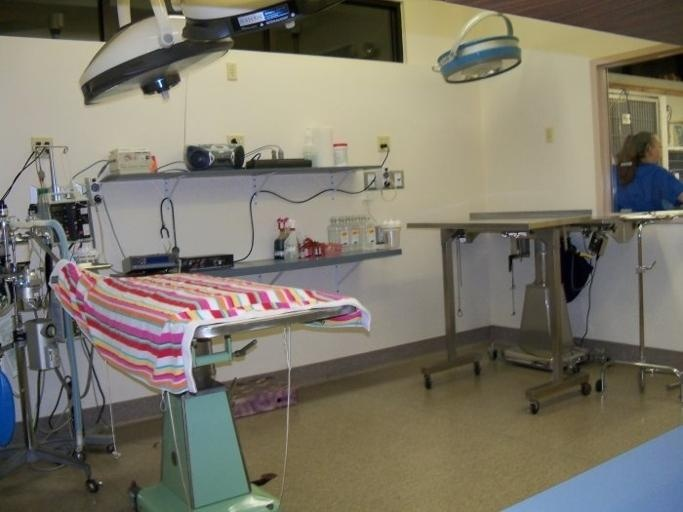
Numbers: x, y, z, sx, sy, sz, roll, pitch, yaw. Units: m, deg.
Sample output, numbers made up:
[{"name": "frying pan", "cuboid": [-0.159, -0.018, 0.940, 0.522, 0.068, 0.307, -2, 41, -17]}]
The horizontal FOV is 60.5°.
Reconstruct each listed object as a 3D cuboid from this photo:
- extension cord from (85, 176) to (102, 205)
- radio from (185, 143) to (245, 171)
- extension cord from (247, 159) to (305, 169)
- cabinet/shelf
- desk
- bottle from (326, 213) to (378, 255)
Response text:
[{"name": "extension cord", "cuboid": [-1.657, -0.427, 3.941, 0.104, 0.194, 0.417, -6, 9, -22]}, {"name": "radio", "cuboid": [-0.902, -0.702, 4.175, 0.412, 0.181, 0.138, -6, 8, -17]}, {"name": "extension cord", "cuboid": [-0.466, -0.694, 4.412, 0.498, 0.080, 0.155, -5, 8, -13]}, {"name": "cabinet/shelf", "cuboid": [-0.669, -0.235, 4.522, 2.135, 0.869, 0.493, -7, 9, -25]}, {"name": "desk", "cuboid": [1.195, 0.342, 4.962, 1.201, 1.940, 1.605, -3, 3, -43]}, {"name": "bottle", "cuboid": [0.076, -0.173, 4.906, 0.319, 0.276, 0.103, -3, 2, -37]}]
